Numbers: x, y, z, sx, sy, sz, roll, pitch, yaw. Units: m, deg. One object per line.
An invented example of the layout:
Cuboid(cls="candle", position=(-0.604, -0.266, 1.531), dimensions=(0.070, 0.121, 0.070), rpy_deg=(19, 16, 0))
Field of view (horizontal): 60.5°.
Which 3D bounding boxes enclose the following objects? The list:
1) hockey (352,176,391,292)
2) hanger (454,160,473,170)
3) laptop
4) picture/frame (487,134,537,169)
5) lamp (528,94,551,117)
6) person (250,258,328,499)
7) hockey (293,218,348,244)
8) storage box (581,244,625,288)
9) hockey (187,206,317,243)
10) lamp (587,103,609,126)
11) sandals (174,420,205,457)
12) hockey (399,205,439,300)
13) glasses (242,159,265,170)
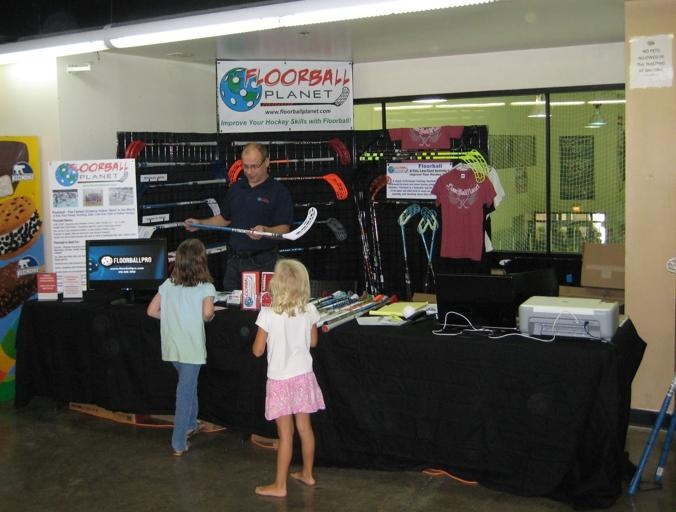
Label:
Cuboid(cls="hockey", position=(0.438, -0.322, 8.004), dimensions=(0.350, 1.766, 0.186), rpy_deg=(-6, 12, 1))
Cuboid(cls="hanger", position=(1.617, -1.181, 7.495), dimensions=(0.208, 0.109, 0.048), rpy_deg=(2, 12, 22))
Cuboid(cls="laptop", position=(0.999, 0.310, 4.190), dimensions=(0.517, 0.402, 0.379), rpy_deg=(1, 4, 22))
Cuboid(cls="picture/frame", position=(2.453, -1.466, 8.072), dimensions=(0.520, 0.408, 0.024), rpy_deg=(7, 10, 29))
Cuboid(cls="lamp", position=(2.750, -2.050, 7.900), dimensions=(0.225, 0.256, 0.237), rpy_deg=(-2, 6, 0))
Cuboid(cls="person", position=(-0.358, 0.850, 4.044), dimensions=(0.549, 1.642, 0.310), rpy_deg=(-7, 12, -19))
Cuboid(cls="hockey", position=(-0.153, -0.318, 7.750), dimensions=(0.504, 0.188, 0.310), rpy_deg=(-22, 24, 2))
Cuboid(cls="storage box", position=(2.922, 0.086, 6.331), dimensions=(0.417, 0.457, 0.426), rpy_deg=(2, 1, 35))
Cuboid(cls="hockey", position=(-0.829, -0.331, 5.382), dimensions=(1.327, 0.348, 0.187), rpy_deg=(9, -4, 24))
Cuboid(cls="lamp", position=(3.484, -1.888, 7.771), dimensions=(0.240, 0.305, 0.062), rpy_deg=(-3, 11, -2))
Cuboid(cls="sandals", position=(-1.260, 1.535, 4.815), dimensions=(0.075, 0.104, 0.245), rpy_deg=(7, 28, 9))
Cuboid(cls="hockey", position=(1.087, -0.093, 7.817), dimensions=(0.542, 1.246, 0.111), rpy_deg=(-1, 11, 7))
Cuboid(cls="glasses", position=(-0.767, -0.851, 5.376), dimensions=(0.205, 0.084, 0.123), rpy_deg=(-5, 13, -11))
